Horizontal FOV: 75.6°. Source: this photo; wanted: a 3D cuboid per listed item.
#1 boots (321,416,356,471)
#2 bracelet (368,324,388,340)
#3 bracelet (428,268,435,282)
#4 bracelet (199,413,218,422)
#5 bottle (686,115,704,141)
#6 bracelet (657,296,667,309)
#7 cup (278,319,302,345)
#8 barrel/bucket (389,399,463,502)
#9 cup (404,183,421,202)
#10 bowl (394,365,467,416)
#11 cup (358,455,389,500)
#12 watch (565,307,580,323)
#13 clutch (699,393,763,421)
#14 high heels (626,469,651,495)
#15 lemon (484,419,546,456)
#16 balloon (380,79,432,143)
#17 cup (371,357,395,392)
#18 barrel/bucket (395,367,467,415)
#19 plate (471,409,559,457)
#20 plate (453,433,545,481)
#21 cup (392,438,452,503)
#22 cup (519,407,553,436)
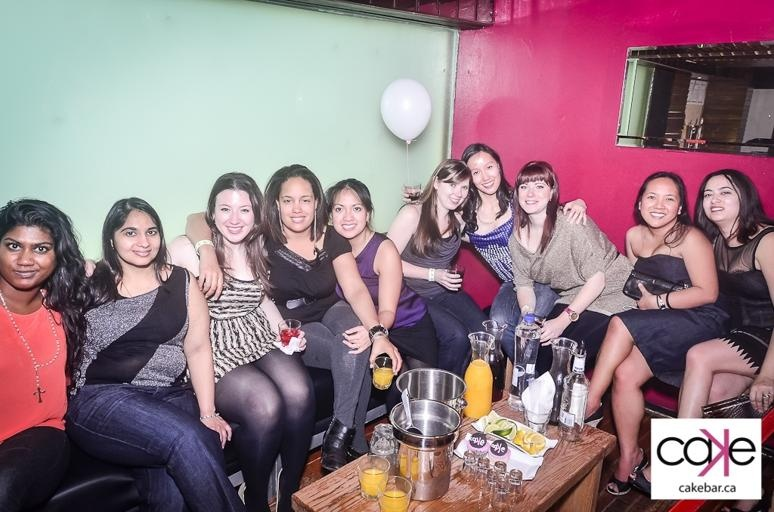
[{"bbox_3d":[-0.256,0.958,2.621,0.109,0.148,0.330,30,2,-18],"label":"boots"},{"bbox_3d":[-0.052,0.404,2.700,0.095,0.061,0.096,-13,-23,-16],"label":"bracelet"},{"bbox_3d":[0.299,0.124,3.331,0.060,0.062,0.015,6,2,44],"label":"bracelet"},{"bbox_3d":[-0.870,0.774,2.425,0.086,0.034,0.031,-17,-15,-6],"label":"bracelet"},{"bbox_3d":[1.864,-0.781,3.008,0.029,0.111,0.109,-2,11,-39],"label":"bottle"},{"bbox_3d":[1.596,0.265,2.887,0.025,0.071,0.052,-17,-1,16],"label":"bracelet"},{"bbox_3d":[-0.511,0.394,2.629,0.112,0.130,0.118,4,2,0],"label":"cup"},{"bbox_3d":[0.120,0.769,2.092,0.317,0.358,0.349,-1,4,-2],"label":"barrel/bucket"},{"bbox_3d":[0.183,-0.457,3.640,0.171,0.146,0.154,2,5,6],"label":"cup"},{"bbox_3d":[0.203,0.587,2.265,0.235,0.183,0.230,2,13,-1],"label":"bowl"},{"bbox_3d":[-0.051,0.854,1.993,0.144,0.166,0.151,2,5,0],"label":"cup"},{"bbox_3d":[1.118,0.351,3.027,0.085,0.064,0.096,46,0,33],"label":"watch"},{"bbox_3d":[1.793,0.792,2.579,0.227,0.069,0.183,-12,-5,13],"label":"clutch"},{"bbox_3d":[1.365,1.204,2.698,0.058,0.170,0.062,-1,-33,-32],"label":"high heels"},{"bbox_3d":[0.573,0.776,2.192,0.130,0.048,0.171,0,13,-43],"label":"lemon"},{"bbox_3d":[0.086,-1.033,3.668,0.393,0.488,0.395,-3,7,-2],"label":"balloon"},{"bbox_3d":[-0.018,0.563,2.431,0.140,0.159,0.150,5,-4,0],"label":"cup"},{"bbox_3d":[0.211,0.594,2.253,0.228,0.180,0.233,3,15,-1],"label":"barrel/bucket"},{"bbox_3d":[0.558,0.775,2.206,0.156,0.051,0.236,6,6,-41],"label":"plate"},{"bbox_3d":[0.478,0.871,2.139,0.273,0.043,0.185,24,20,19],"label":"plate"},{"bbox_3d":[0.143,0.825,2.063,0.228,0.263,0.233,0,3,0],"label":"cup"},{"bbox_3d":[0.690,0.740,2.309,0.110,0.124,0.115,-2,1,0],"label":"cup"}]
